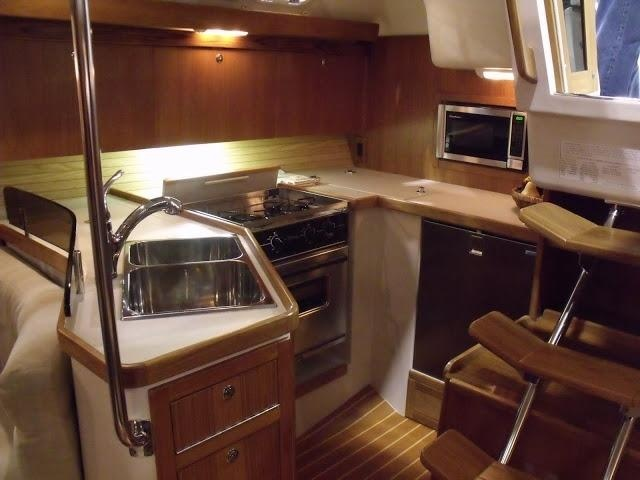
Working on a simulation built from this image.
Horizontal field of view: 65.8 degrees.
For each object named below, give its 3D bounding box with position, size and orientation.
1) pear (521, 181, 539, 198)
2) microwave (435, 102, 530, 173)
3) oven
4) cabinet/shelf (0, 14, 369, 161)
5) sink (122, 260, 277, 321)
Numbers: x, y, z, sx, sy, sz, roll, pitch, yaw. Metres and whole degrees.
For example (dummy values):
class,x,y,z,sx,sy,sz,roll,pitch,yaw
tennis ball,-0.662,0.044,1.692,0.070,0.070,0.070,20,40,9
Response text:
class,x,y,z,sx,sy,sz,roll,pitch,yaw
pear,1.046,-0.259,2.457,0.084,0.082,0.102,3,14,30
microwave,0.964,-0.610,2.952,0.378,0.406,0.571,-13,20,-40
oven,-0.126,0.412,2.976,0.481,0.831,0.463,-11,22,-17
cabinet/shelf,-0.654,-0.869,2.826,2.103,0.615,0.282,-12,14,-31
sink,-0.512,0.215,1.942,0.336,0.138,0.291,-2,28,-19
